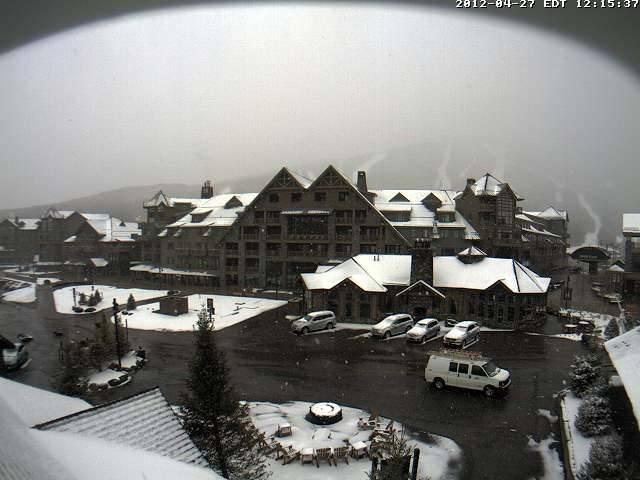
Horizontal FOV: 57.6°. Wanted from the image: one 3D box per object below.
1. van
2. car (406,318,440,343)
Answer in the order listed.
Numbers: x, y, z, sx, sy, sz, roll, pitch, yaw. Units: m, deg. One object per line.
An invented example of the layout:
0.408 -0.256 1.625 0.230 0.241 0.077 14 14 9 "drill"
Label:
9.549 8.564 37.903 4.565 1.923 2.666 -1 2 27 "van"
8.430 7.507 48.024 1.330 1.076 2.932 -1 2 33 "car"
